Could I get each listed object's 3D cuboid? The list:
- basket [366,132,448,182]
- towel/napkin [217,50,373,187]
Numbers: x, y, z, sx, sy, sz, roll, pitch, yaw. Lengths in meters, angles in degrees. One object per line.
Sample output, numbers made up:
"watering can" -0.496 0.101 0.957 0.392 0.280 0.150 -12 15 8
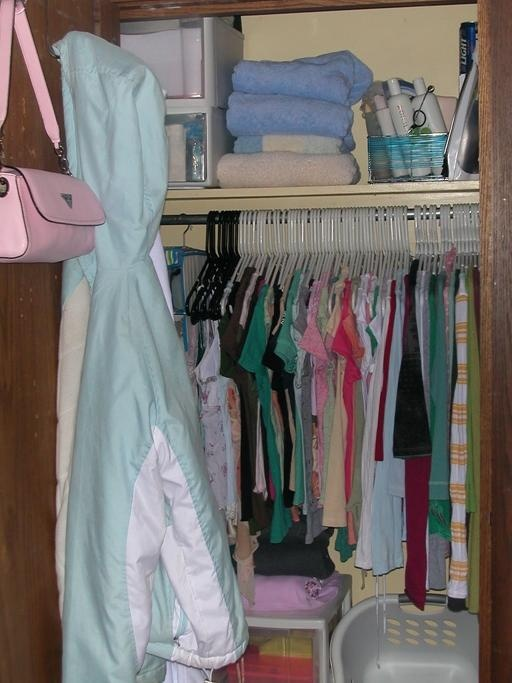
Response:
"basket" 0.374 -0.467 1.860 0.150 0.133 0.121 -5 13 0
"towel/napkin" 0.092 -0.566 1.973 0.325 0.418 0.227 6 15 16
